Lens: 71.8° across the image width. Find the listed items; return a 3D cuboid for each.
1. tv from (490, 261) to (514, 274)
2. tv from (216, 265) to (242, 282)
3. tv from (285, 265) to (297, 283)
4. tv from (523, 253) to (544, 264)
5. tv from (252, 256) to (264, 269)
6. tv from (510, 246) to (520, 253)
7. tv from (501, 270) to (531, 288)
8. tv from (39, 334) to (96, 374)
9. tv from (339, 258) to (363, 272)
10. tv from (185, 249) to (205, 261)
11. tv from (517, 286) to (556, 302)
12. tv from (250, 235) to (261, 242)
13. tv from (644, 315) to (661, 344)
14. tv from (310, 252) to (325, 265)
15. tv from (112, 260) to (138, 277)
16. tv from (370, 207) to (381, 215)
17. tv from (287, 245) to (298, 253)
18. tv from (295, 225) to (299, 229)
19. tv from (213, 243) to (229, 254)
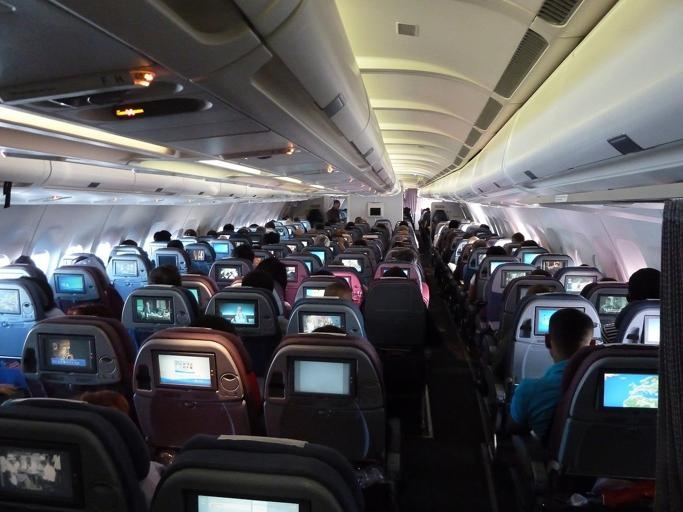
[{"bbox_3d":[2.331,0.161,6.846,0.216,0.163,0.028,11,27,31],"label":"tv"},{"bbox_3d":[-1.857,0.275,7.747,0.313,0.187,0.029,4,15,12],"label":"tv"},{"bbox_3d":[-0.865,0.297,7.990,0.345,0.286,0.222,1,1,-1],"label":"tv"},{"bbox_3d":[3.406,0.030,8.385,0.211,0.133,0.021,-6,-2,19],"label":"tv"},{"bbox_3d":[-1.417,0.098,7.849,0.198,0.119,0.166,7,-37,-6],"label":"tv"},{"bbox_3d":[3.452,-0.129,9.412,0.090,0.137,0.152,4,-1,7],"label":"tv"},{"bbox_3d":[2.229,0.282,6.003,0.288,0.174,0.038,1,0,-3],"label":"tv"},{"bbox_3d":[-2.115,0.736,3.621,0.371,0.230,0.036,1,8,0],"label":"tv"},{"bbox_3d":[0.178,0.162,8.768,0.363,0.248,0.088,5,4,9],"label":"tv"},{"bbox_3d":[-3.221,-0.036,10.320,0.305,0.183,0.028,6,26,17],"label":"tv"},{"bbox_3d":[2.026,0.355,4.813,0.272,0.117,0.324,-1,-3,4],"label":"tv"},{"bbox_3d":[-2.646,-0.532,14.328,0.372,0.214,0.189,3,14,4],"label":"tv"},{"bbox_3d":[2.620,0.613,3.991,0.104,0.242,0.160,3,-4,31],"label":"tv"},{"bbox_3d":[-0.506,0.033,9.317,0.334,0.396,0.042,0,29,5],"label":"tv"},{"bbox_3d":[-3.774,0.204,8.205,0.330,0.195,0.042,5,14,21],"label":"tv"},{"bbox_3d":[1.749,-2.382,25.161,0.778,0.462,0.372,2,6,9],"label":"tv"},{"bbox_3d":[-1.224,-0.187,11.768,0.302,0.182,0.264,6,-13,3],"label":"tv"},{"bbox_3d":[-2.198,-1.395,22.746,0.228,0.055,0.229,-16,11,8],"label":"tv"},{"bbox_3d":[-2.988,-0.204,11.594,0.288,0.183,0.035,2,22,5],"label":"tv"}]
